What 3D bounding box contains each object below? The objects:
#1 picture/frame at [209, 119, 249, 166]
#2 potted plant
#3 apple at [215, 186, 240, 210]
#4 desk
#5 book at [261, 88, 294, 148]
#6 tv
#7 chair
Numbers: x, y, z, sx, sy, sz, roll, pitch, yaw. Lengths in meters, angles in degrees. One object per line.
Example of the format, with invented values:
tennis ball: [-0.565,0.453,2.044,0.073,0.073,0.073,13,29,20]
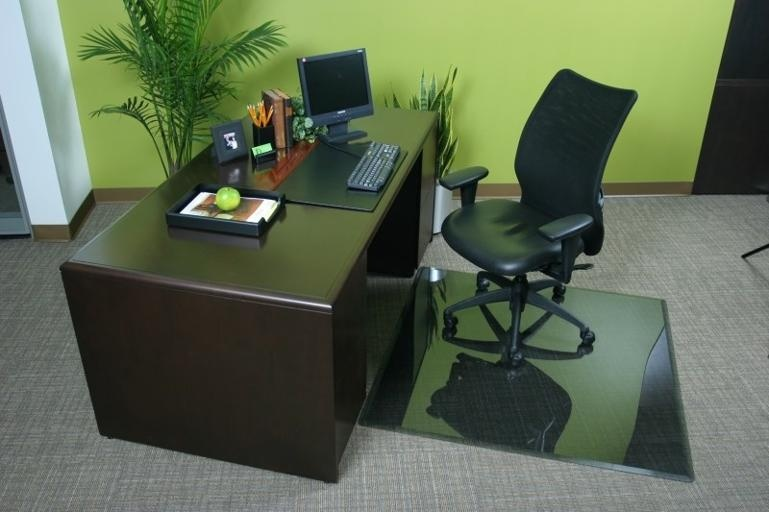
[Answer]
picture/frame: [-0.894,-0.661,3.220,0.194,0.206,0.112,-22,31,-32]
potted plant: [0.433,-0.820,4.296,0.468,1.123,0.434,-5,4,-12]
apple: [-0.776,-0.281,2.824,0.107,0.111,0.108,-16,26,-35]
desk: [-0.591,-0.036,3.671,1.270,1.133,2.492,7,32,10]
book: [-0.640,-0.807,3.334,0.095,0.272,0.276,-5,27,-12]
tv: [-0.289,-0.976,3.432,0.486,0.505,0.202,-21,25,-33]
chair: [0.841,-0.226,3.363,1.021,1.463,0.974,-15,31,-17]
